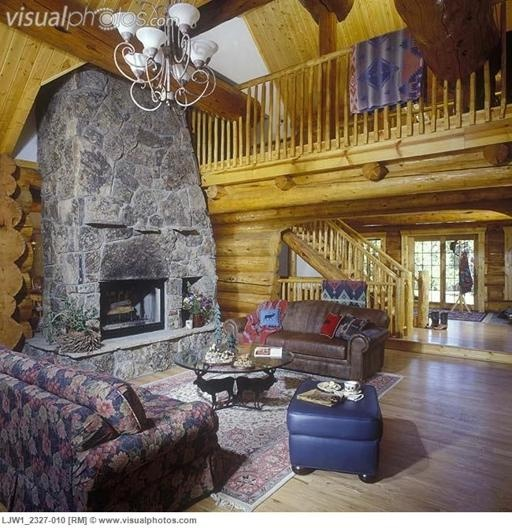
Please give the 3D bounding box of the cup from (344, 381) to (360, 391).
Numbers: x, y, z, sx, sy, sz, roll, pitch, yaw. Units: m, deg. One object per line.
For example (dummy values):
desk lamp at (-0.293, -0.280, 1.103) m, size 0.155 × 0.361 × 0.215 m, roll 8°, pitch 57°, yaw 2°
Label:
cup at (0.717, 0.906, 3.227) m, size 0.110 × 0.066 × 0.069 m, roll 8°, pitch -10°, yaw -37°

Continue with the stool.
stool at (0.518, 1.104, 2.919) m, size 0.577 × 0.361 × 0.527 m, roll 0°, pitch -3°, yaw 4°

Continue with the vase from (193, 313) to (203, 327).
vase at (-0.830, 0.799, 6.216) m, size 0.181 × 0.179 × 0.177 m, roll -3°, pitch 6°, yaw -40°

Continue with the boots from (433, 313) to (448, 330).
boots at (3.436, 1.051, 8.130) m, size 0.303 × 0.293 × 0.337 m, roll -4°, pitch -11°, yaw 31°

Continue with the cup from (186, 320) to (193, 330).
cup at (-0.938, 0.837, 6.052) m, size 0.114 × 0.109 × 0.114 m, roll -1°, pitch -1°, yaw 0°

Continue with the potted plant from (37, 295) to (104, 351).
potted plant at (-2.018, 0.640, 4.793) m, size 0.552 × 0.545 × 0.734 m, roll -1°, pitch 3°, yaw -24°

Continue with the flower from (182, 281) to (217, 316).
flower at (-0.905, 0.503, 6.324) m, size 0.509 × 0.324 × 0.456 m, roll 8°, pitch -2°, yaw 17°
